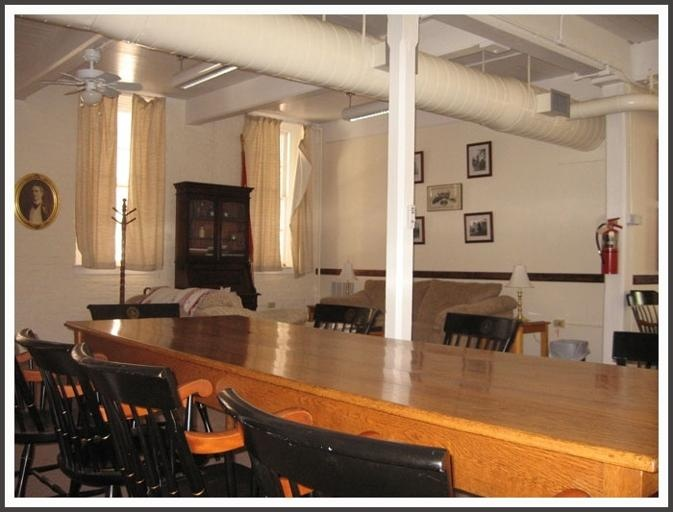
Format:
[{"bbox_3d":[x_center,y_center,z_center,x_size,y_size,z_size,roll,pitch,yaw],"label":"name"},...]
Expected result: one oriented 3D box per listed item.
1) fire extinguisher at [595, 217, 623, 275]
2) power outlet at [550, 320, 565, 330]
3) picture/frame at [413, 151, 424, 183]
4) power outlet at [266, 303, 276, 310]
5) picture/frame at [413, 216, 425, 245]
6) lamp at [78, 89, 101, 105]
[{"bbox_3d":[3.375,-0.108,6.435,0.209,0.757,0.410,2,0,4],"label":"fire extinguisher"},{"bbox_3d":[3.106,0.953,7.198,0.192,0.120,0.103,1,3,35],"label":"power outlet"},{"bbox_3d":[1.412,-1.499,8.700,0.056,0.540,0.191,2,0,-38],"label":"picture/frame"},{"bbox_3d":[-1.199,0.922,9.532,0.208,0.131,0.115,0,7,-13],"label":"power outlet"},{"bbox_3d":[1.417,-0.434,8.732,0.162,0.479,0.246,2,0,3],"label":"picture/frame"},{"bbox_3d":[-2.247,-1.492,4.750,0.140,0.038,0.133,2,-24,-13],"label":"lamp"}]
